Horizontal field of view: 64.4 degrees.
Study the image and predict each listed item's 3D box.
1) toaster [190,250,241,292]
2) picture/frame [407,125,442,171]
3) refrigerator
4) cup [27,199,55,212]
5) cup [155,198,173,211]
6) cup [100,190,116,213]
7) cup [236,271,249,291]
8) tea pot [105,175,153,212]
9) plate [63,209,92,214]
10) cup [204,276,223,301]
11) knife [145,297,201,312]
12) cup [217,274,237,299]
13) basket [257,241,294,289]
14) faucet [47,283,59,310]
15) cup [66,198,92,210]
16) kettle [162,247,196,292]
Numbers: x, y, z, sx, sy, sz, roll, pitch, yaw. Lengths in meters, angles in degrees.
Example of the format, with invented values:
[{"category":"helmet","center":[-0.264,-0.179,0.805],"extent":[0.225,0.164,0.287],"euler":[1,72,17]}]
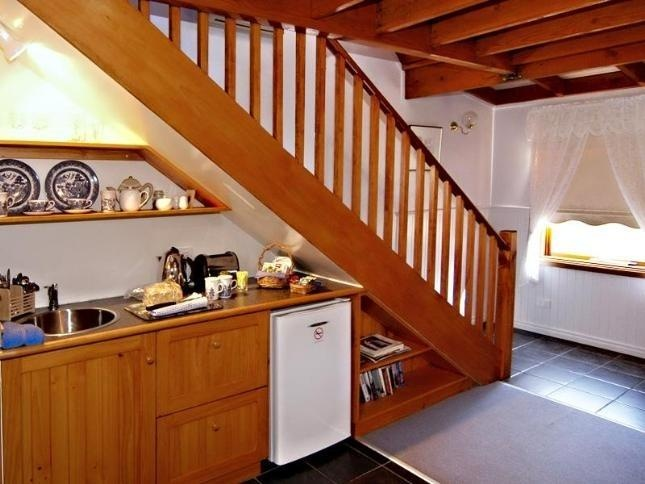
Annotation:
[{"category":"toaster","center":[-0.736,0.202,3.693],"extent":[0.239,0.238,0.178],"euler":[0,-6,-32]},{"category":"picture/frame","center":[1.093,-0.990,5.419],"extent":[0.421,0.435,0.035],"euler":[7,10,44]},{"category":"refrigerator","center":[-0.069,0.911,3.449],"extent":[0.678,0.963,0.206],"euler":[-8,14,-36]},{"category":"cup","center":[-1.676,-0.209,3.048],"extent":[0.118,0.056,0.088],"euler":[2,-1,-30]},{"category":"cup","center":[-1.036,-0.249,3.404],"extent":[0.130,0.121,0.076],"euler":[-3,6,-38]},{"category":"cup","center":[-1.321,-0.258,3.175],"extent":[0.091,0.140,0.160],"euler":[-4,12,-23]},{"category":"cup","center":[-0.568,0.280,3.587],"extent":[0.112,0.180,0.106],"euler":[1,2,0]},{"category":"tea pot","center":[-1.243,-0.312,3.343],"extent":[0.280,0.224,0.341],"euler":[-3,12,-18]},{"category":"plate","center":[-1.478,-0.186,3.107],"extent":[0.159,0.023,0.138],"euler":[-4,12,-24]},{"category":"cup","center":[-0.707,0.306,3.322],"extent":[0.137,0.145,0.094],"euler":[0,1,-35]},{"category":"knife","center":[-0.904,0.377,3.090],"extent":[0.361,0.030,0.050],"euler":[-6,6,-41]},{"category":"cup","center":[-0.635,0.292,3.456],"extent":[0.093,0.150,0.150],"euler":[0,3,40]},{"category":"basket","center":[-0.349,0.161,3.726],"extent":[0.234,0.314,0.306],"euler":[3,5,0]},{"category":"faucet","center":[-1.668,0.332,3.182],"extent":[0.065,0.152,0.147],"euler":[-6,13,-28]},{"category":"cup","center":[-1.512,-0.237,3.202],"extent":[0.149,0.078,0.220],"euler":[-5,12,-25]},{"category":"kettle","center":[-0.992,0.191,3.528],"extent":[0.205,0.288,0.253],"euler":[-9,15,-40]}]
